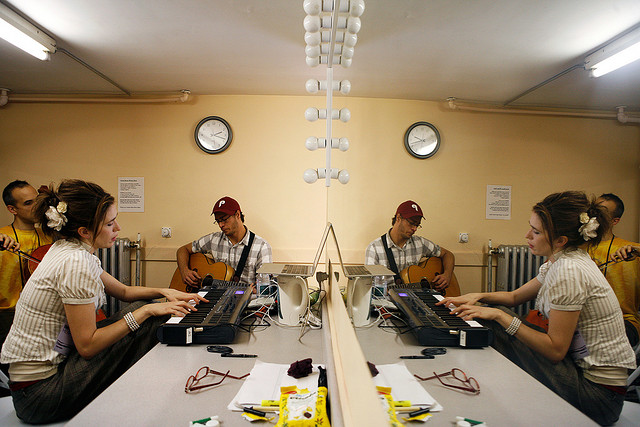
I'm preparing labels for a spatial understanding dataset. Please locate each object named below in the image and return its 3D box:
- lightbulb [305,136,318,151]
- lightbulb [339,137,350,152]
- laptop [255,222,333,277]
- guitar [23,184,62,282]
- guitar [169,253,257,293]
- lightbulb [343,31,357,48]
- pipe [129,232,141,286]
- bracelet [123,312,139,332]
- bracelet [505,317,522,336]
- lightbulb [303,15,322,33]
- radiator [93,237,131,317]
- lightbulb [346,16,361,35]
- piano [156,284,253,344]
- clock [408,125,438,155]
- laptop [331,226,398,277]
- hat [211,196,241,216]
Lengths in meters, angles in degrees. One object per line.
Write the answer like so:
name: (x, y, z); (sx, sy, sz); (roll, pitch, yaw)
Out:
lightbulb: (-0.039, -0.330, 1.917); (0.082, 0.064, 0.065); (0, -28, -6)
lightbulb: (0.066, -0.212, 1.244); (0.024, 0.032, 0.053); (9, 4, -11)
laptop: (-0.118, 0.126, 1.841); (0.300, 0.208, 0.304); (1, -1, 4)
guitar: (-1.682, 0.210, 2.452); (0.057, 0.335, 0.168); (32, -60, -29)
guitar: (-0.733, 0.487, 2.919); (0.657, 0.091, 0.323); (12, 17, 1)
lightbulb: (0.088, -0.498, 1.194); (0.038, 0.053, 0.052); (1, 11, -5)
pipe: (-1.399, 0.353, 3.129); (0.083, 0.390, 0.167); (-5, 10, -25)
bracelet: (-0.747, 0.425, 1.622); (0.046, 0.063, 0.019); (-4, 19, 39)
bracelet: (0.341, 0.197, 0.722); (0.020, 0.027, 0.027); (-18, -37, -16)
lightbulb: (-0.029, -0.673, 1.478); (0.054, 0.055, 0.055); (3, 5, 39)
radiator: (-1.558, 0.490, 3.107); (0.262, 0.587, 0.260); (-4, 10, -21)
lightbulb: (0.090, -0.517, 1.158); (0.041, 0.042, 0.054); (1, -5, -10)
piano: (-0.474, 0.431, 1.800); (0.291, 0.100, 0.508); (-1, 8, 0)
clock: (0.208, -0.151, 0.845); (0.028, 0.060, 0.090); (-4, 9, -18)
laptop: (0.118, 0.097, 1.061); (0.122, 0.159, 0.193); (-7, 1, 2)
hat: (-0.661, -0.051, 2.878); (0.173, 0.110, 0.150); (0, 9, 4)
